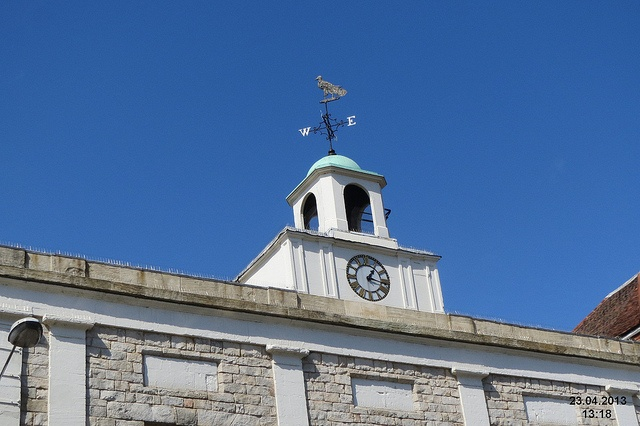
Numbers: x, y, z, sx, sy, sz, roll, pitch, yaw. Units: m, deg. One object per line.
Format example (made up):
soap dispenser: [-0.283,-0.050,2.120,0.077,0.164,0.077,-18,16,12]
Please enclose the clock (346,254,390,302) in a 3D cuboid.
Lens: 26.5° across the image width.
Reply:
clock: [1.984,2.600,55.378,2.191,2.060,0.156,16,-33,-29]
